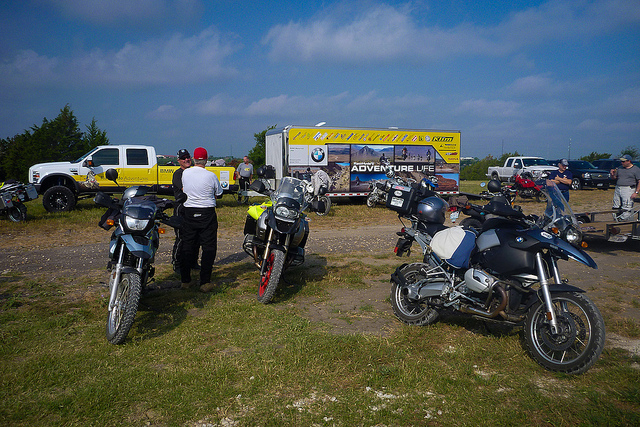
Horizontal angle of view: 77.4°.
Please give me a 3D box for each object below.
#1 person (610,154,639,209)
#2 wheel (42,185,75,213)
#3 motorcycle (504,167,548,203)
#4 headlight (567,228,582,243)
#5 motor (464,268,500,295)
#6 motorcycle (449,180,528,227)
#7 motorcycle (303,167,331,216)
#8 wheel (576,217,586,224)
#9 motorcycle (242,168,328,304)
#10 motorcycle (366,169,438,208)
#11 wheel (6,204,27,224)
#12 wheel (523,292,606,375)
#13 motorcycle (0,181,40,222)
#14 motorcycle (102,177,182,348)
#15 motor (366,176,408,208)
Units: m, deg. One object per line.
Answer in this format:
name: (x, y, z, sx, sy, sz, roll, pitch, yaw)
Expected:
person: (9.541, -0.949, 12.419, 0.558, 1.667, 0.649, -12, 19, -43)
wheel: (-10.239, -0.533, 15.660, 1.094, 1.070, 0.373, 1, 3, -24)
motorcycle: (10.518, -1.355, 20.315, 2.653, 1.601, 1.531, 4, 6, 7)
headlight: (3.523, 0.315, 5.518, 0.263, 0.208, 0.073, -4, 14, -19)
motor: (2.262, 0.957, 5.593, 0.283, 0.182, 0.395, 24, -5, -9)
motorcycle: (2.791, -0.028, 6.498, 1.178, 0.801, 0.695, -13, -7, 24)
motorcycle: (0.067, -0.401, 8.194, 0.787, 0.807, 1.278, 0, 2, -9)
wheel: (6.255, 0.188, 9.571, 0.123, 0.121, 0.119, 4, 20, -1)
motorcycle: (-0.727, 0.471, 7.283, 1.176, 1.943, 3.121, 1, 3, 6)
motorcycle: (1.243, -0.389, 7.263, 0.625, 0.648, 1.108, 10, 11, -21)
wheel: (-10.430, 0.000, 13.693, 0.605, 0.611, 0.462, -3, 14, -17)
wheel: (3.205, 1.553, 5.284, 0.371, 1.095, 1.070, 14, -12, -23)
motorcycle: (-10.521, -0.389, 13.883, 0.749, 1.233, 1.111, 1, 13, 1)
motorcycle: (-2.837, 0.734, 6.021, 0.884, 2.029, 1.462, 0, 14, -5)
motor: (1.167, -0.393, 7.432, 0.354, 0.396, 0.649, 36, -13, -21)
